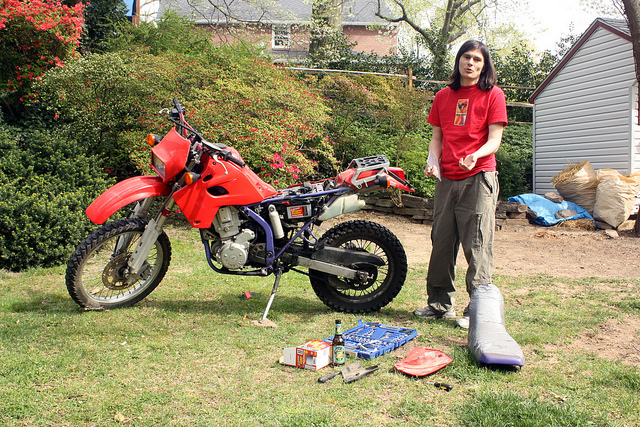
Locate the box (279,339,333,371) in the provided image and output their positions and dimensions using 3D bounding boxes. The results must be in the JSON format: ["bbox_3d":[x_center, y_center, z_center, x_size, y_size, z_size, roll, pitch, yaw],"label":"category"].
[{"bbox_3d":[-0.136,1.427,5.273,0.516,0.232,0.231,4,5,13],"label":"box"}]

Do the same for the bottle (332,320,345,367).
[{"bbox_3d":[0.193,1.302,5.320,0.133,0.471,0.284,4,5,2],"label":"bottle"}]

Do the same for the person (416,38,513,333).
[{"bbox_3d":[1.616,-0.337,5.951,0.837,3.207,0.537,5,5,18],"label":"person"}]
